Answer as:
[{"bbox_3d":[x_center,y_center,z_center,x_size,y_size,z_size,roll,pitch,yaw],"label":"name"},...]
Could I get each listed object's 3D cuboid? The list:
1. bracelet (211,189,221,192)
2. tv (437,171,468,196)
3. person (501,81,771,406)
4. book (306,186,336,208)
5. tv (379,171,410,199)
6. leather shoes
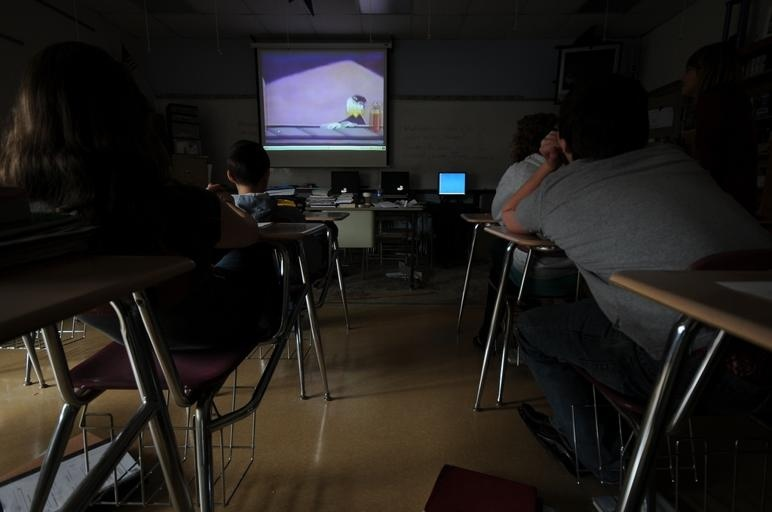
[{"bbox_3d":[-0.799,-0.307,2.582,0.062,0.014,0.061,0,7,2],"label":"bracelet"},{"bbox_3d":[0.794,-0.856,6.615,0.453,0.324,0.254,0,3,0],"label":"tv"},{"bbox_3d":[0.932,-0.029,2.213,0.614,1.349,0.840,-9,17,-22],"label":"person"},{"bbox_3d":[-0.670,-0.599,5.687,0.300,0.140,0.368,3,14,-5],"label":"book"},{"bbox_3d":[0.100,-0.843,6.595,0.361,0.318,0.170,-1,-2,0],"label":"tv"},{"bbox_3d":[0.745,0.836,2.525,0.118,0.149,0.374,-18,46,-18],"label":"leather shoes"}]
